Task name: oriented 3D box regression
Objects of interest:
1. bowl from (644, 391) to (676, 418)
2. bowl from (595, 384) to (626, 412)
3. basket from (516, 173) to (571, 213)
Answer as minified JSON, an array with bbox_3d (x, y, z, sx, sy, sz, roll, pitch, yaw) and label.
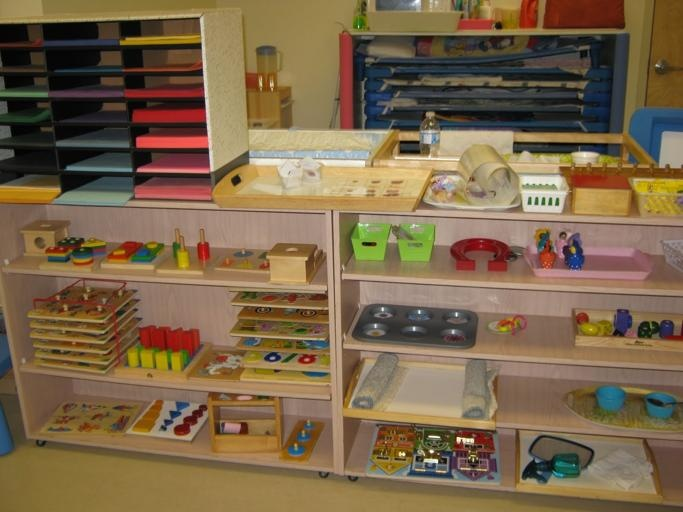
[{"bbox_3d":[1.417,0.658,2.429,0.124,0.062,0.109,-4,4,-6],"label":"bowl"},{"bbox_3d":[1.209,0.646,2.465,0.130,0.063,0.109,-4,21,13],"label":"bowl"},{"bbox_3d":[0.808,-0.263,2.184,0.184,0.076,0.219,3,19,9],"label":"basket"}]
